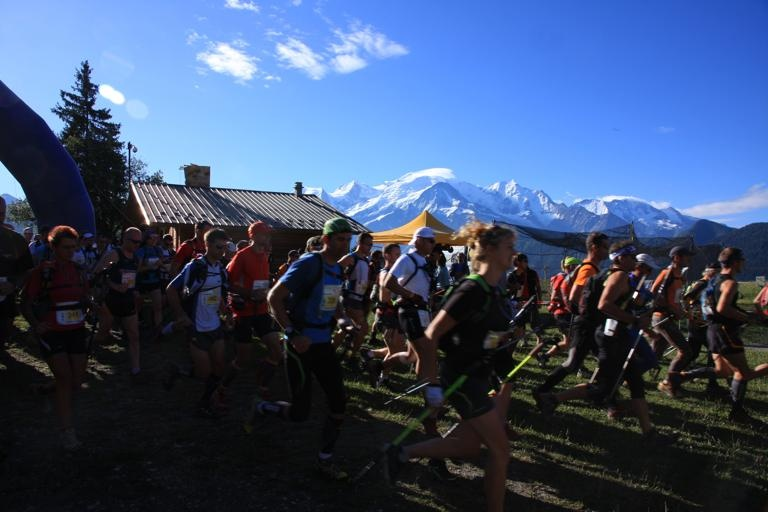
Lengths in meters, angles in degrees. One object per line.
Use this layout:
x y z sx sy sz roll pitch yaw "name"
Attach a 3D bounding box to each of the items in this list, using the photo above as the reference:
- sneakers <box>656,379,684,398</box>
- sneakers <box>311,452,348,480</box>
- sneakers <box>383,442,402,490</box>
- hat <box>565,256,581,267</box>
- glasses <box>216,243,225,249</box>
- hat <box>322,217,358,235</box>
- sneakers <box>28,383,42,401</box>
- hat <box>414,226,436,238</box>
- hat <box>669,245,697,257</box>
5.717 2.677 9.179 0.545 0.211 0.257 0 -3 39 "sneakers"
-0.694 2.531 5.552 0.546 0.204 0.216 4 -1 42 "sneakers"
0.094 2.197 4.822 0.232 0.406 0.117 5 4 1 "sneakers"
4.751 0.119 11.433 0.314 0.148 0.214 -20 11 -6 "hat"
-2.493 -0.144 6.922 0.085 0.057 0.077 14 -20 12 "glasses"
-0.523 -0.356 5.472 0.370 0.148 0.271 -1 6 34 "hat"
-5.600 2.208 7.297 0.155 0.199 0.108 2 -39 -28 "sneakers"
0.661 -0.387 7.335 0.265 0.116 0.170 3 -9 2 "hat"
7.522 -0.148 11.479 0.771 0.248 0.491 -4 3 -4 "hat"
